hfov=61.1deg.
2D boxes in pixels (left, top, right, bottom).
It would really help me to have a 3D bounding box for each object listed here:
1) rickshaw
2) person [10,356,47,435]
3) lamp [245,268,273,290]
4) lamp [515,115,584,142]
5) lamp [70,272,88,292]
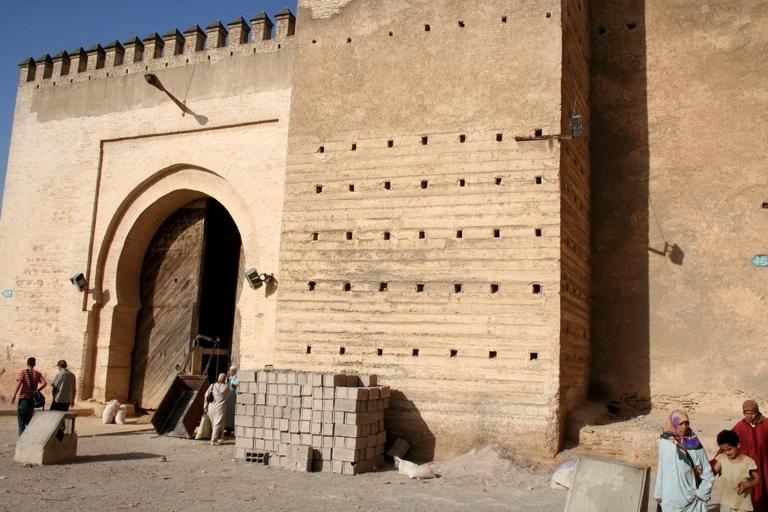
[{"bbox_3d":[-4.439,2.998,15.077,0.865,0.862,2.412,5,32,13],"label":"rickshaw"},{"bbox_3d":[-6.860,2.755,12.596,0.452,1.459,0.511,-2,-8,19],"label":"person"},{"bbox_3d":[-2.931,0.545,15.315,0.618,0.212,0.433,-13,49,-35],"label":"lamp"},{"bbox_3d":[3.350,-2.547,13.053,1.263,0.559,0.569,1,6,-14],"label":"lamp"},{"bbox_3d":[-7.940,0.677,17.058,0.299,0.485,0.375,8,8,44],"label":"lamp"}]
